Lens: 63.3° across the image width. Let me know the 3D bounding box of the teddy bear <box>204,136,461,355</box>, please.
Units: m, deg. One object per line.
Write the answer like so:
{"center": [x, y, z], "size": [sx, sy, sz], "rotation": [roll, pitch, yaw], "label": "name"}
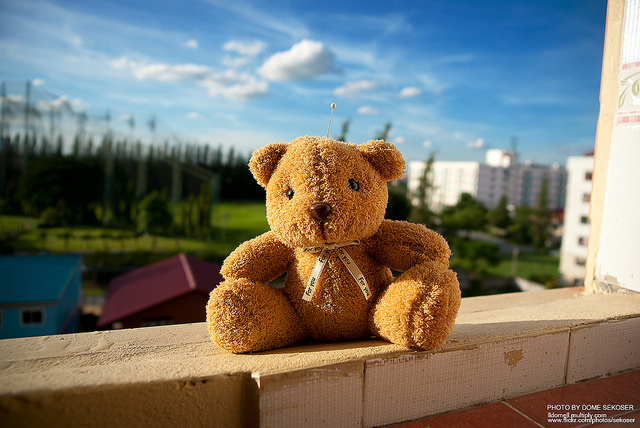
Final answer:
{"center": [0.067, 0.126, 2.284], "size": [1.067, 0.928, 0.359], "rotation": [2, 5, 3], "label": "teddy bear"}
